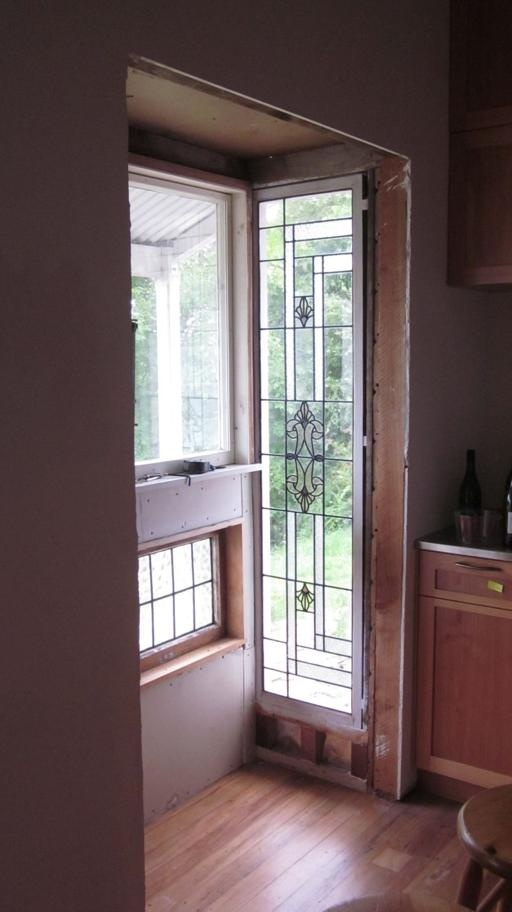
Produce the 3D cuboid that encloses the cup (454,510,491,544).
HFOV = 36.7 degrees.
[{"bbox_3d":[0.698,0.225,2.471,0.098,0.088,0.104,0,-3,0],"label":"cup"}]
